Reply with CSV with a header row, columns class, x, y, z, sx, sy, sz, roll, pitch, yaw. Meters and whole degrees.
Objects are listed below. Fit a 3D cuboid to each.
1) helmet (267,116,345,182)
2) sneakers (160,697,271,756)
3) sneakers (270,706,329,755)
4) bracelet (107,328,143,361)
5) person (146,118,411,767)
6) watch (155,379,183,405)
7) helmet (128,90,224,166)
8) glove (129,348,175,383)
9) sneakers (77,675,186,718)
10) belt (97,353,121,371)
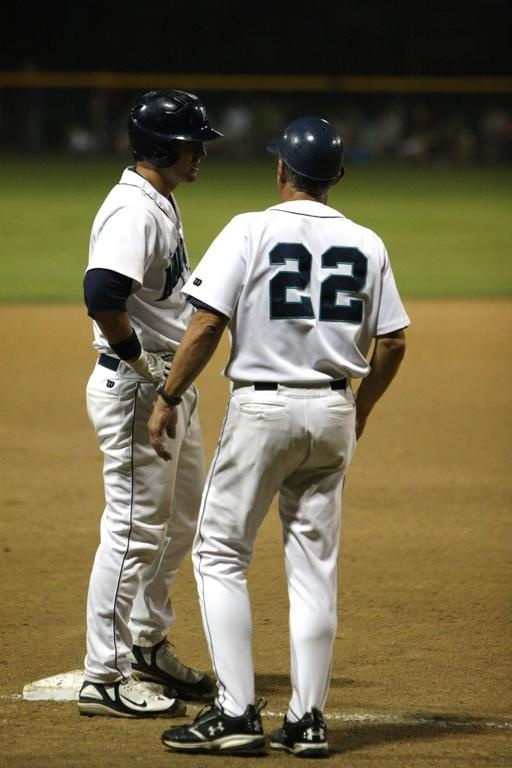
class,x,y,z,sx,sy,sz,roll,pitch,yaw
helmet,0.139,-0.672,3.029,0.174,0.112,0.211,-16,48,-31
sneakers,-0.106,0.969,2.952,0.357,0.151,0.130,0,-18,3
sneakers,0.132,0.979,2.936,0.086,0.092,0.224,5,-5,-24
bracelet,-0.378,-0.108,3.105,0.094,0.092,0.089,-18,42,18
person,0.062,0.176,2.977,0.619,1.854,0.805,13,18,42
watch,-0.248,0.023,2.971,0.036,0.059,0.059,-41,36,-5
helmet,-0.298,-0.822,3.328,0.317,0.199,0.219,15,27,14
glove,-0.326,-0.041,3.159,0.113,0.042,0.106,30,42,-11
sneakers,-0.398,0.977,3.271,0.369,0.136,0.122,0,1,-11
belt,-0.465,-0.068,3.247,0.066,0.047,0.064,20,-1,-34
